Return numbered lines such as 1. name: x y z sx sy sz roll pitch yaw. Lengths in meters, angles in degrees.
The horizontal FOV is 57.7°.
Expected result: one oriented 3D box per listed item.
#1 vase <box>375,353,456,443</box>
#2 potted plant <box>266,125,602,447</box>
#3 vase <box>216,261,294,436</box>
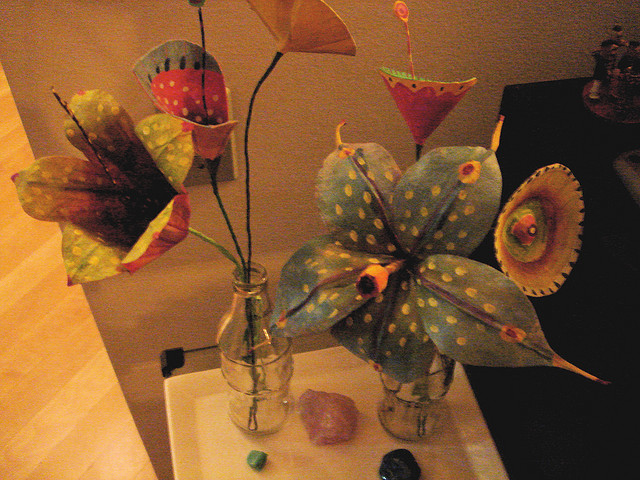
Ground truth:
1. vase: 0.170 0.265 1.007 0.140 0.216 0.084 -6 42 -2
2. potted plant: 0.174 0.033 0.798 0.434 0.292 0.267 12 39 20
3. vase: -0.117 0.192 1.002 0.137 0.348 0.156 -10 41 -6
